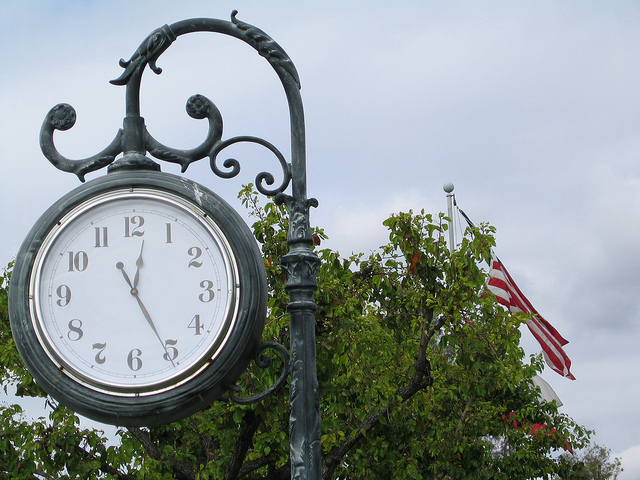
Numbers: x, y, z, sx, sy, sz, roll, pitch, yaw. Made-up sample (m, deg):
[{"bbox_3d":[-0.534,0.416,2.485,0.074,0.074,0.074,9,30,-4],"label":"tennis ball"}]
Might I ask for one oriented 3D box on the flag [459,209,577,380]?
[{"bbox_3d":[3.876,1.470,26.723,1.051,2.609,2.004,-21,-53,18],"label":"flag"}]
